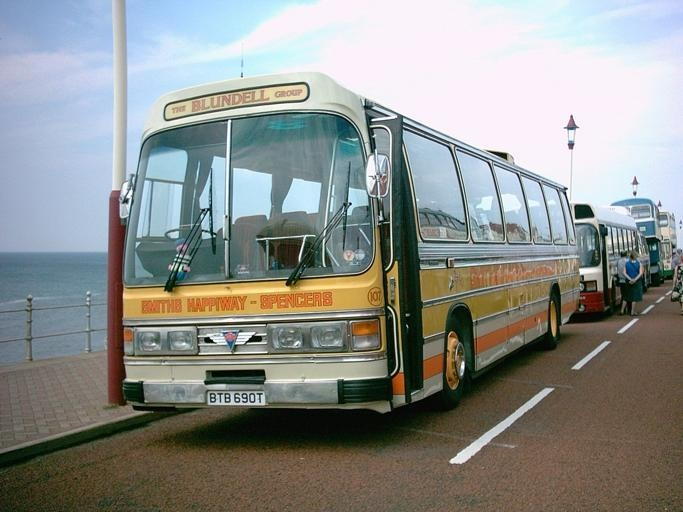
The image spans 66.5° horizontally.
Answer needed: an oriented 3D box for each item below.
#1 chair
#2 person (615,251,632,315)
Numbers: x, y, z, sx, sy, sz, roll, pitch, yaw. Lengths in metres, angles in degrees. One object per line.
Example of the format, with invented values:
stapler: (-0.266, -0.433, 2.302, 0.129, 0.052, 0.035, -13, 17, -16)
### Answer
chair: (-0.440, -0.196, 5.751, 1.565, 0.652, 0.361, -1, 0, 19)
person: (10.592, 0.880, 19.068, 0.701, 2.369, 0.635, 4, 23, 42)
